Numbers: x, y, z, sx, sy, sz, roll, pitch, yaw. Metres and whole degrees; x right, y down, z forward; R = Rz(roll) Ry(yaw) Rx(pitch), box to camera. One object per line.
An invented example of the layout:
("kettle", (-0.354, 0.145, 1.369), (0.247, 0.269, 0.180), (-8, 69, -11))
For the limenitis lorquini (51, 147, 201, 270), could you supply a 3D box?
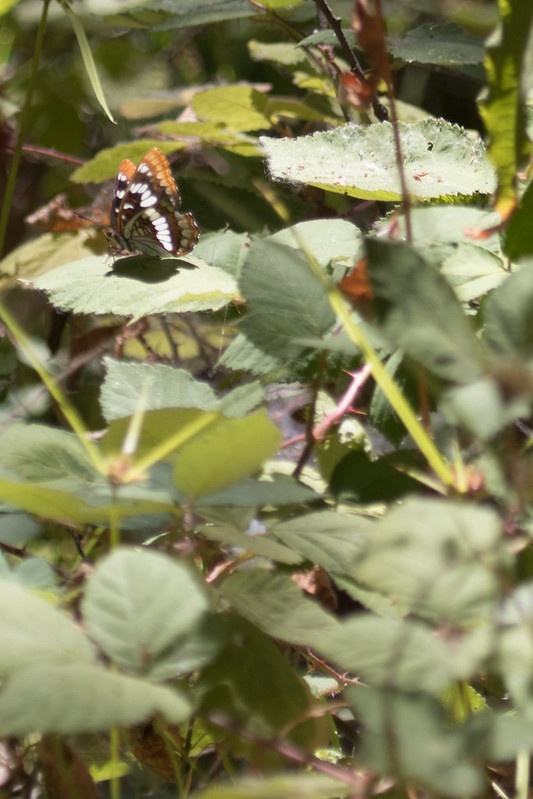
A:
("limenitis lorquini", (-0.102, -0.165, 0.659), (0.101, 0.084, 0.100), (8, 3, 28))
